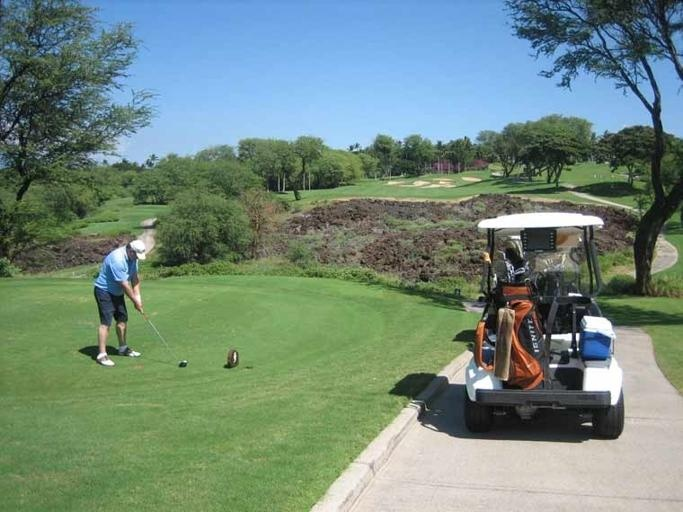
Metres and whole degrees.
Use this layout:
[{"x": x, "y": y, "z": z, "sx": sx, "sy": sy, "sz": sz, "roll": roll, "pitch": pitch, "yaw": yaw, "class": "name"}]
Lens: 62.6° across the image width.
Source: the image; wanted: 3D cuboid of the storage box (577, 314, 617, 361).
[{"x": 3.933, "y": 1.228, "z": 8.549, "sx": 0.552, "sy": 0.624, "sz": 0.621, "roll": -6, "pitch": 18, "yaw": 4, "class": "storage box"}]

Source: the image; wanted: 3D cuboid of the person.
[{"x": -4.305, "y": 0.817, "z": 10.765, "sx": 0.874, "sy": 2.264, "sz": 1.435, "roll": 3, "pitch": 9, "yaw": -1, "class": "person"}]

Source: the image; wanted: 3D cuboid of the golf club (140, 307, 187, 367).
[{"x": -3.785, "y": 1.668, "z": 11.836, "sx": 0.355, "sy": 0.396, "sz": 3.163, "roll": -2, "pitch": 10, "yaw": -32, "class": "golf club"}]
